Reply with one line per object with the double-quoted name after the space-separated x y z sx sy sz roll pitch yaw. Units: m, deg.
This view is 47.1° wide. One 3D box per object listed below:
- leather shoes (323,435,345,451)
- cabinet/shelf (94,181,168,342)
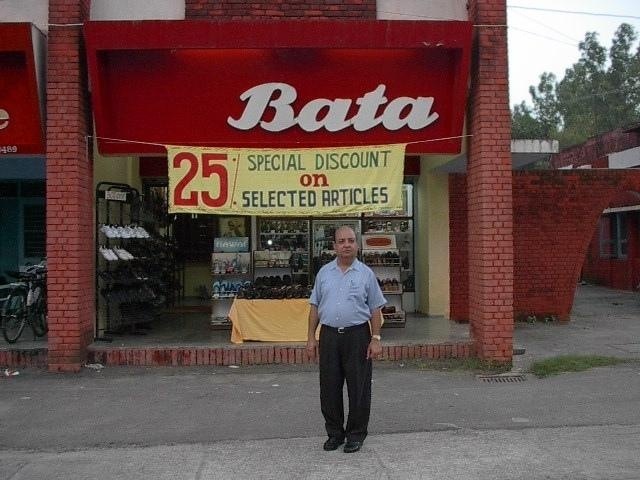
0.190 2.804 10.089 0.115 0.151 0.332 -4 -12 36 "leather shoes"
-4.119 0.512 15.726 1.071 3.266 3.189 0 1 -5 "cabinet/shelf"
